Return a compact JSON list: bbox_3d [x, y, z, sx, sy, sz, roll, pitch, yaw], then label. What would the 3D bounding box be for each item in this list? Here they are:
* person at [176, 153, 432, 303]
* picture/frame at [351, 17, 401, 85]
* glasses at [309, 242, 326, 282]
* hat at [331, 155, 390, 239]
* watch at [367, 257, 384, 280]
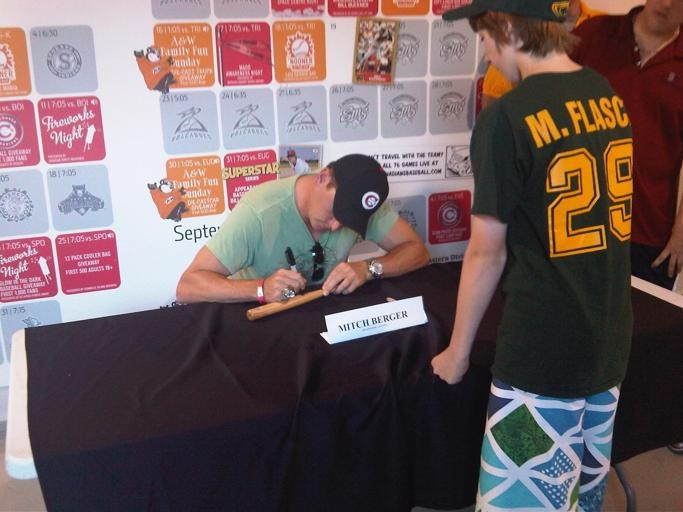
[{"bbox_3d":[-0.201,-0.104,2.288,0.576,0.315,0.797,-15,-15,-48],"label":"person"},{"bbox_3d":[0.142,-0.914,2.594,0.249,0.350,0.028,2,16,-25],"label":"picture/frame"},{"bbox_3d":[-0.082,0.026,2.276,0.042,0.091,0.128,4,37,-21],"label":"glasses"},{"bbox_3d":[0.067,-0.217,2.100,0.145,0.289,0.196,-19,-15,31],"label":"hat"},{"bbox_3d":[0.118,0.045,2.162,0.040,0.072,0.065,1,-6,-10],"label":"watch"}]
